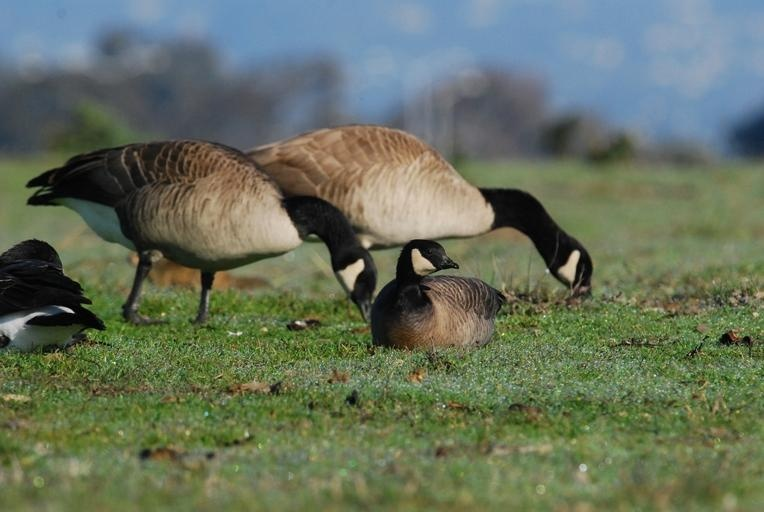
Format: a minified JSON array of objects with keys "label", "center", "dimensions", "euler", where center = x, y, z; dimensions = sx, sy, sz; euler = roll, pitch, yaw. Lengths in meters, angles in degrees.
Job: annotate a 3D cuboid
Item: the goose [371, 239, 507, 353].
[{"label":"goose","center":[0.669,0.369,10.015],"dimensions":[1.376,1.105,1.673],"euler":[2,4,26]}]
